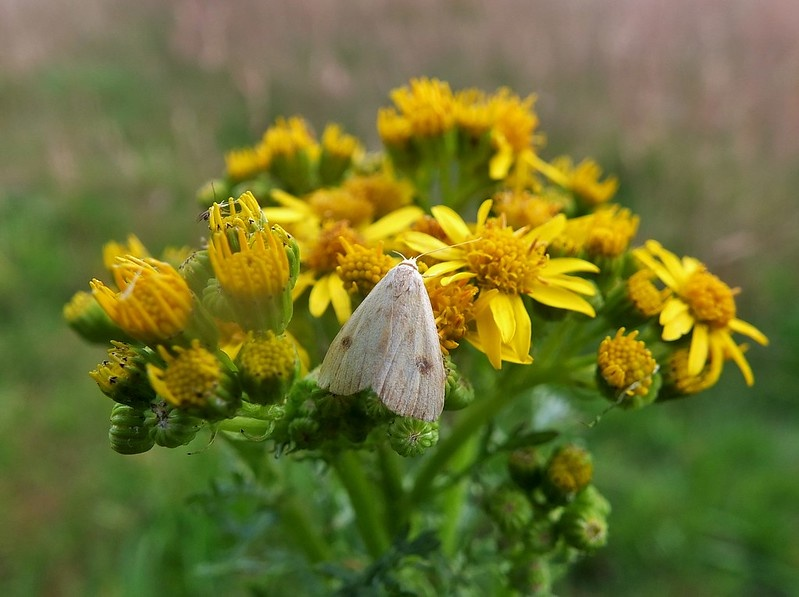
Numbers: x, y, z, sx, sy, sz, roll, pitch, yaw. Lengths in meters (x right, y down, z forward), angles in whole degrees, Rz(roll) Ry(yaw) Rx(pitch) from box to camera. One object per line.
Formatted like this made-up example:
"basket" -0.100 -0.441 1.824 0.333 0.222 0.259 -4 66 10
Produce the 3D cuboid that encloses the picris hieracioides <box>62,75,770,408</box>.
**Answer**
"picris hieracioides" 0.053 -0.133 1.904 0.872 0.774 0.510 4 7 -21
